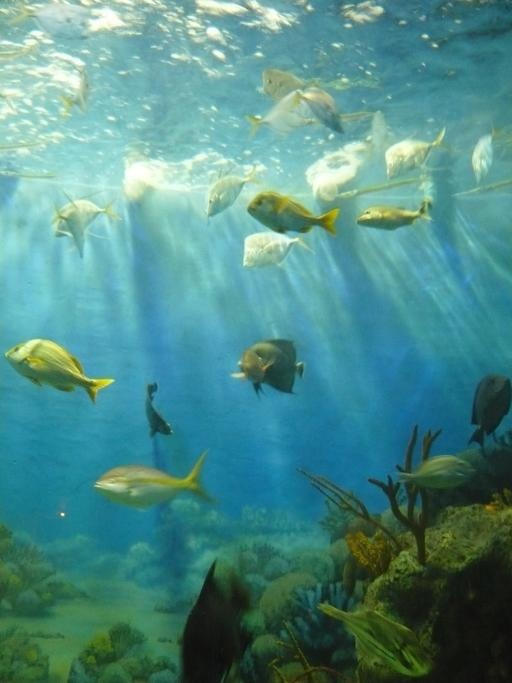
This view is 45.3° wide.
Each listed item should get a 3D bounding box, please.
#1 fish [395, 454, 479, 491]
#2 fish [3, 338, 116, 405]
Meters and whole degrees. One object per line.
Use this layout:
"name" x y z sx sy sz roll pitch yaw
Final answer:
"fish" 2.189 1.634 7.854 1.148 0.527 0.370 -4 1 8
"fish" -2.191 0.314 6.725 0.979 0.714 0.303 -6 5 -5
